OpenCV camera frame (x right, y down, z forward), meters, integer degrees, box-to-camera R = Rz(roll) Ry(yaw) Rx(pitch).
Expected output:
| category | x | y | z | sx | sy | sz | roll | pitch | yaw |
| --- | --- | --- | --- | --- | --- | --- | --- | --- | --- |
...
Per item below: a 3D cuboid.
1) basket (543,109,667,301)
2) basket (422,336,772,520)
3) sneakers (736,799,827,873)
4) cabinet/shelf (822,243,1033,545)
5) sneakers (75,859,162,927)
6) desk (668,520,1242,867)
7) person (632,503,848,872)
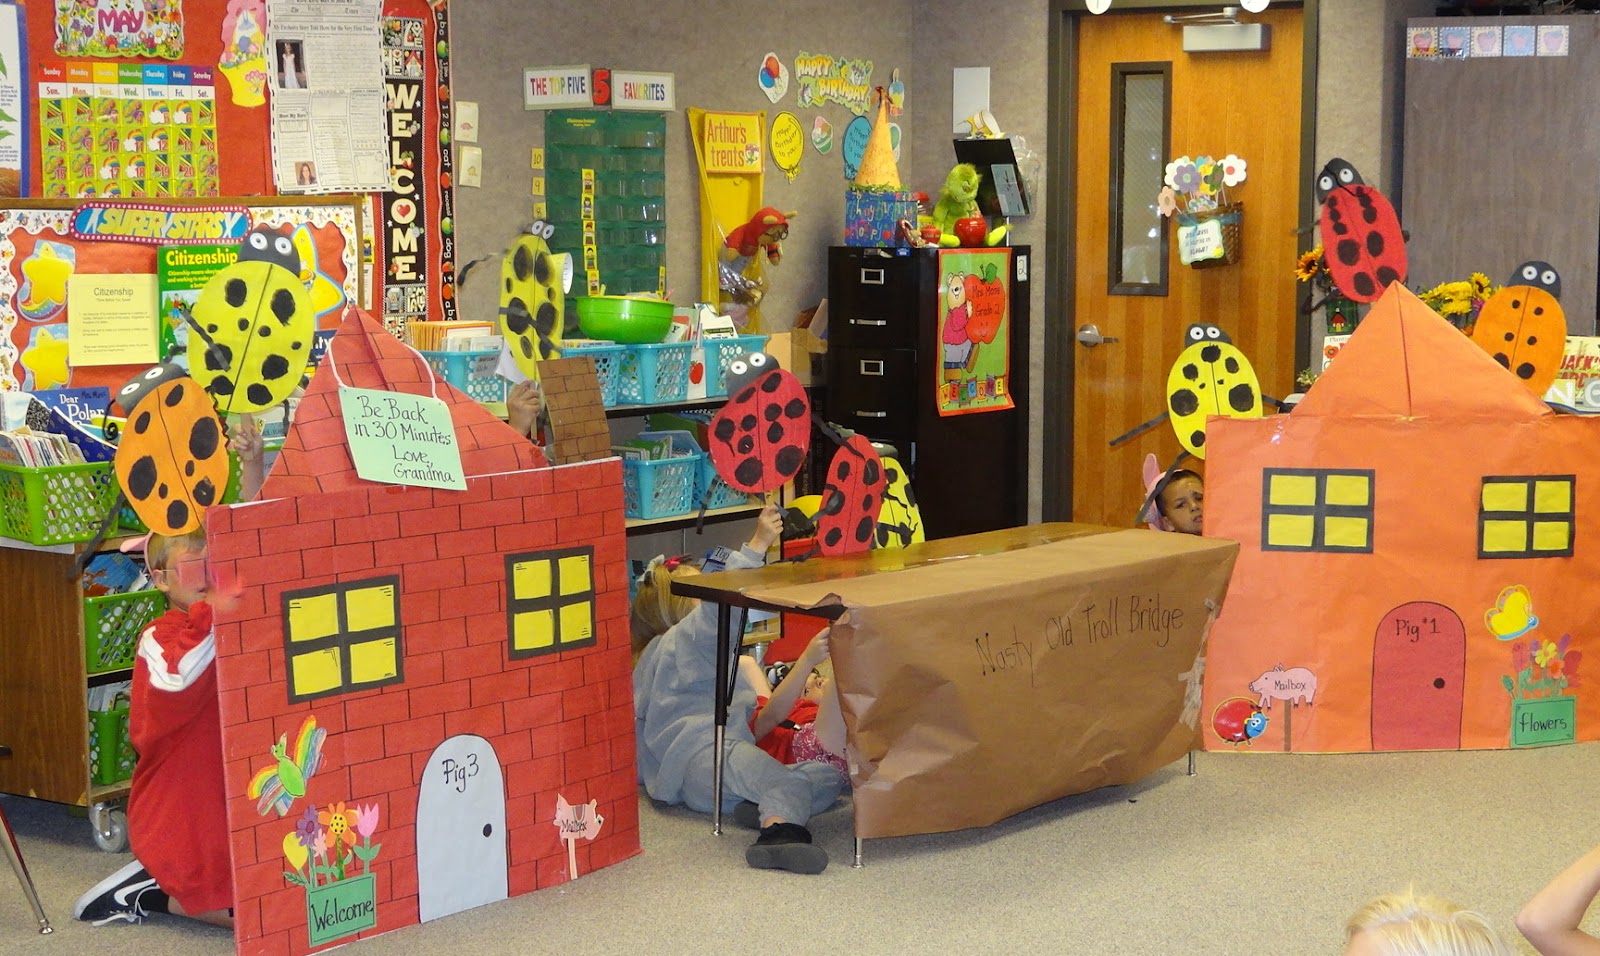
| category | x | y | z | sx | sy | sz | roll | pitch | yaw |
| --- | --- | --- | --- | --- | --- | --- | --- | --- | --- |
| basket | -0.850 | -1.268 | 6.669 | 0.649 | 0.833 | 0.186 | -16 | 19 | -42 |
| basket | -0.666 | -0.281 | 6.090 | 1.239 | 0.531 | 0.837 | -2 | 2 | -29 |
| sneakers | -0.061 | 1.198 | 4.804 | 0.131 | 0.125 | 0.291 | 0 | 0 | -18 |
| cabinet/shelf | 0.677 | -0.469 | 7.634 | 1.103 | 1.521 | 0.608 | -4 | 14 | -2 |
| sneakers | -2.103 | 1.290 | 4.518 | 0.263 | 0.110 | 0.087 | -34 | -19 | -2 |
| desk | 0.654 | 0.699 | 5.044 | 1.719 | 0.931 | 0.593 | -11 | 15 | -31 |
| person | -0.200 | 0.765 | 5.107 | 0.852 | 0.468 | 1.065 | -14 | 43 | 12 |
